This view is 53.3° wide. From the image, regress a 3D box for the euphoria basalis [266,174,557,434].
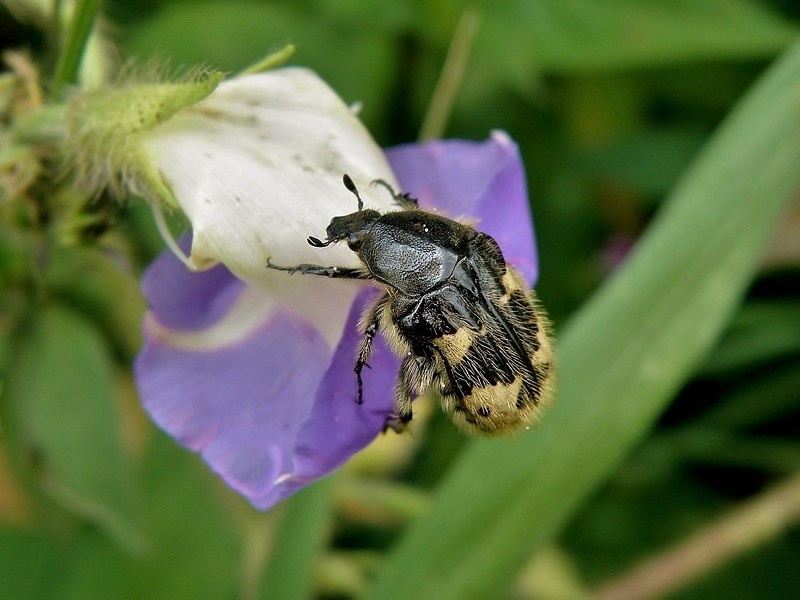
[{"bbox_3d":[0.040,0.010,0.824,0.259,0.234,0.344,0,27,-28],"label":"euphoria basalis"}]
